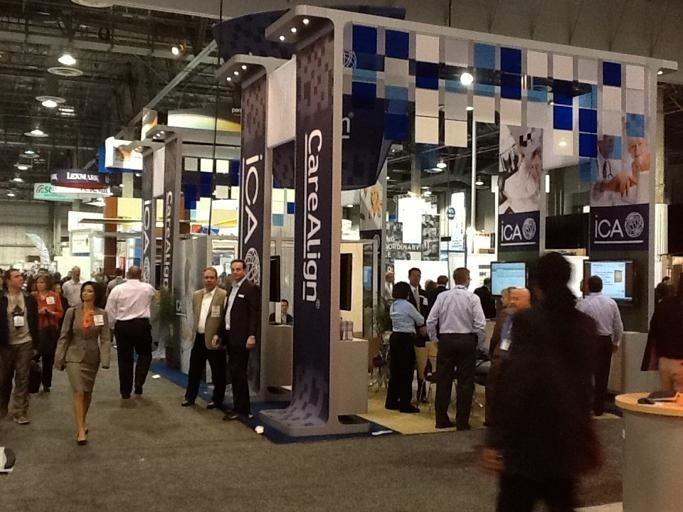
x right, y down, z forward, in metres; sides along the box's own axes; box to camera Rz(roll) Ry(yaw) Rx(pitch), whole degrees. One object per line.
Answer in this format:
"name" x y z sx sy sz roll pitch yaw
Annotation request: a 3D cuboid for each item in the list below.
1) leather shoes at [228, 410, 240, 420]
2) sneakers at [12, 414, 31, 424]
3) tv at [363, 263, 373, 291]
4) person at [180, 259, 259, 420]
"leather shoes" -1.215 1.773 6.857 0.127 0.081 0.129 0 0 7
"sneakers" -3.433 1.739 6.606 0.096 0.088 0.222 5 -7 -43
"tv" 0.420 0.343 10.241 0.063 0.390 0.195 0 -1 -31
"person" -1.395 0.941 7.238 0.464 1.783 1.198 0 -1 -41
